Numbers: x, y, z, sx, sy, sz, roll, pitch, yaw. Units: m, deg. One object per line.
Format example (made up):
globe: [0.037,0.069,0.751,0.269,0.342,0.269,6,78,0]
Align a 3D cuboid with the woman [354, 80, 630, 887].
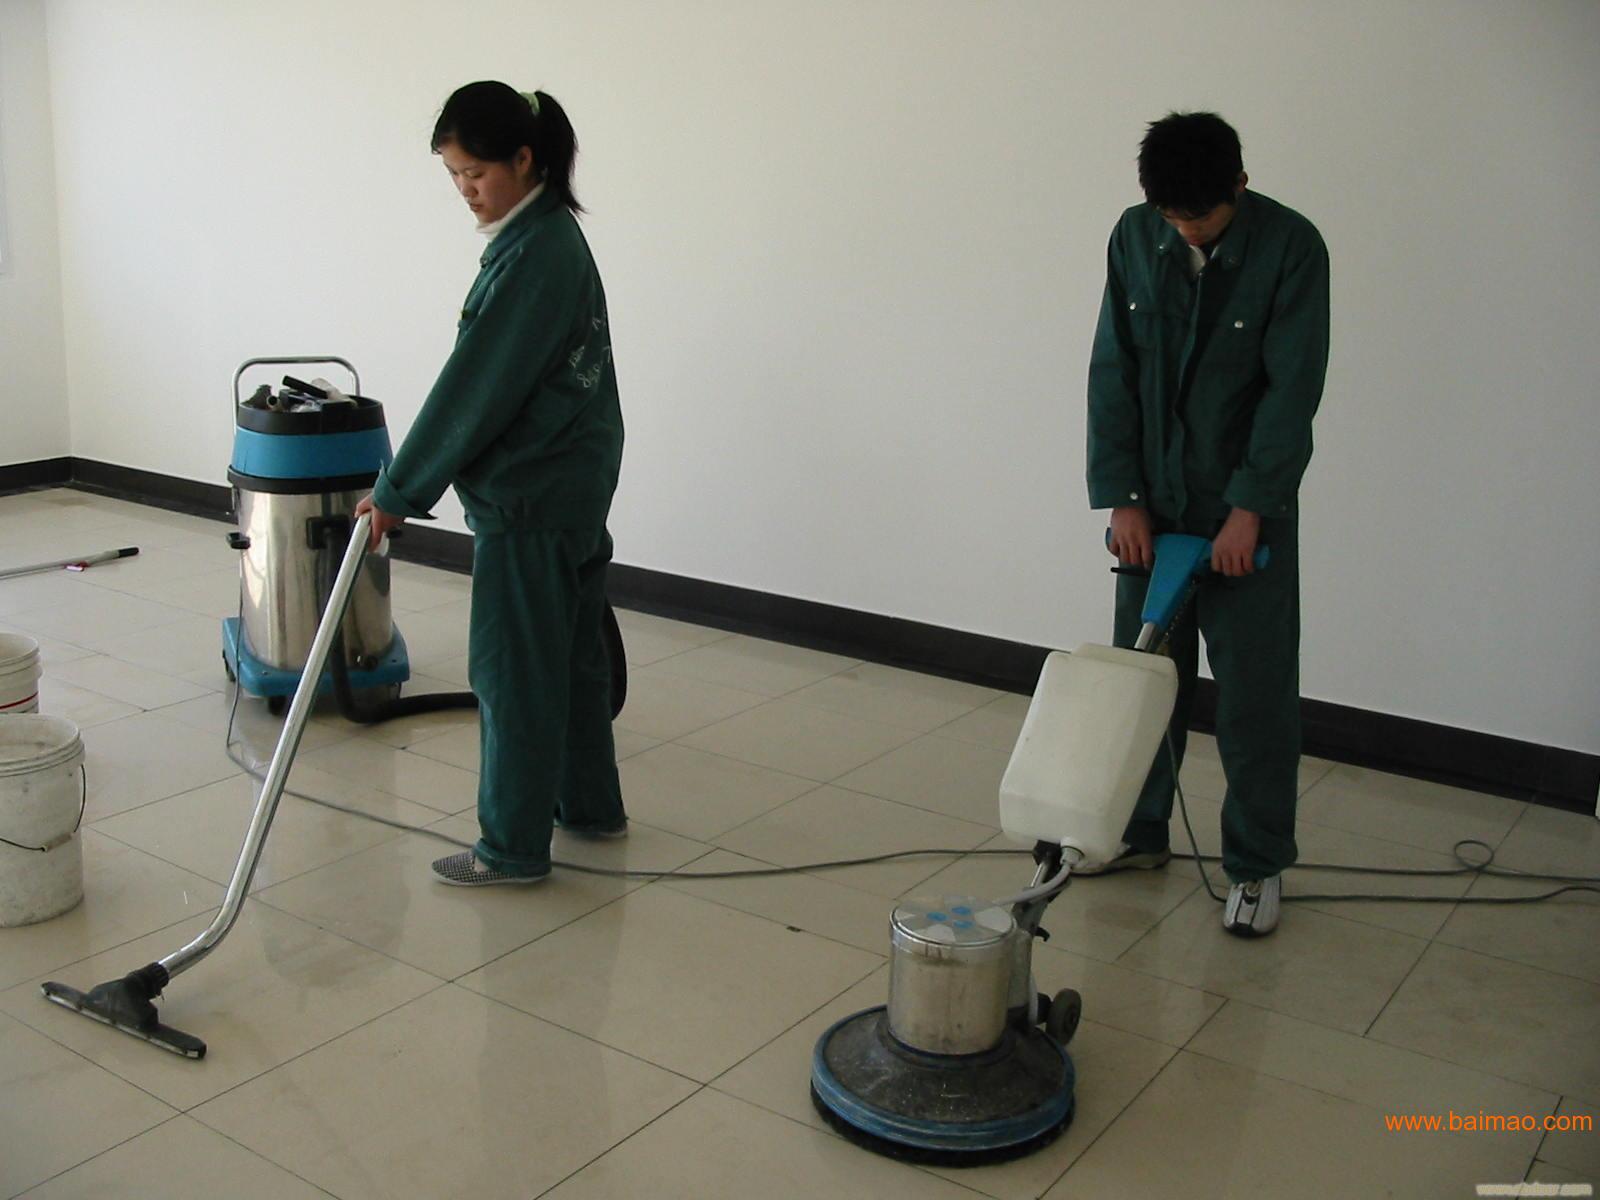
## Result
woman: [-0.738,-0.279,3.419,0.589,1.848,0.588,6,13,16]

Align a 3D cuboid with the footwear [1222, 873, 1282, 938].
footwear: [1.060,0.719,3.317,0.069,0.091,0.199,3,16,24]

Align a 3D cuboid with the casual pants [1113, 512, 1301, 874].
casual pants: [0.988,0.354,3.570,0.446,1.037,0.281,1,57,16]

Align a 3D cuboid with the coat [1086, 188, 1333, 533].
coat: [0.925,-0.572,3.252,0.501,0.758,0.372,9,36,28]

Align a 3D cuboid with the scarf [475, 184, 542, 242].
scarf: [-0.655,-0.882,3.219,0.133,0.053,0.130,-42,13,7]

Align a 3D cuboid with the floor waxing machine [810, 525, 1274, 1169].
floor waxing machine: [0.596,0.408,3.051,0.460,0.928,1.607,7,13,36]

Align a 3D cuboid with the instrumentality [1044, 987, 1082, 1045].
instrumentality: [0.526,0.834,2.828,0.039,0.110,0.103,9,17,37]
